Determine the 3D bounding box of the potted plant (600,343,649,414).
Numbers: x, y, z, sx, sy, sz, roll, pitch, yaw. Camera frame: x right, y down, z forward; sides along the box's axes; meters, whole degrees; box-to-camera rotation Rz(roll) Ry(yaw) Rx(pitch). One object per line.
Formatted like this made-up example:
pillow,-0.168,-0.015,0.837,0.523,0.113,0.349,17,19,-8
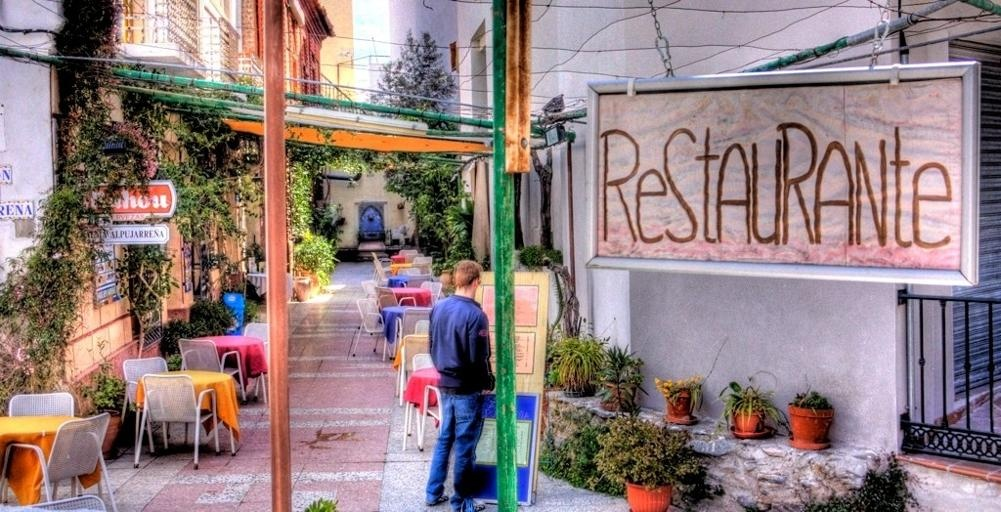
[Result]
potted plant,2.008,1.933,13.665,0.775,0.970,0.708,-13,4,-16

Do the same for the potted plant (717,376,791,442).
potted plant,3.725,2.223,12.435,0.986,0.678,0.941,-1,4,7

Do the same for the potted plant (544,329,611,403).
potted plant,1.327,1.830,14.113,0.977,0.773,0.948,2,-5,1

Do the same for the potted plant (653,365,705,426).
potted plant,2.799,2.228,13.075,0.695,0.611,0.635,-1,-4,5

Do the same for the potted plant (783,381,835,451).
potted plant,4.538,2.373,12.188,0.666,0.675,0.687,-2,-7,43
